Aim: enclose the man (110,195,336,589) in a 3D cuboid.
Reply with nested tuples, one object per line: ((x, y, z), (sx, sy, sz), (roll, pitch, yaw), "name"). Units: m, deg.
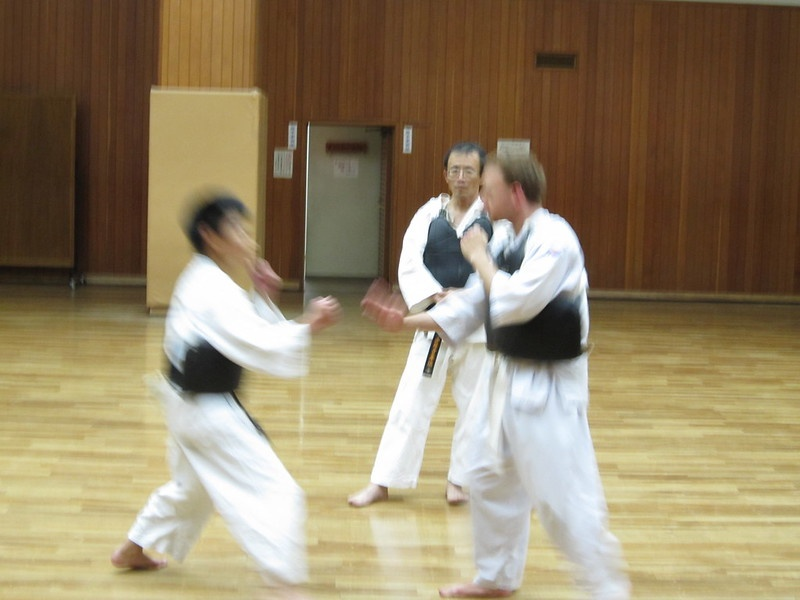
((-0.665, 0.097, 3.643), (1.038, 2.161, 1.090), (-3, 15, -19), "man")

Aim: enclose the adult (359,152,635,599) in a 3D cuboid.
((0.533, 0.342, 4.099), (1.347, 2.660, 1.006), (2, -4, -18), "adult")

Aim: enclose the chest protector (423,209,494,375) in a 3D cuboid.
((0.207, -0.057, 3.747), (0.344, 0.733, 0.160), (7, 1, 0), "chest protector")

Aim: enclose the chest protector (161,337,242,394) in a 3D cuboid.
((-0.688, 0.232, 2.972), (0.215, 0.197, 0.172), (5, 7, -8), "chest protector")

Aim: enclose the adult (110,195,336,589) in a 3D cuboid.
((-0.796, 0.072, 3.615), (1.038, 2.161, 1.090), (-3, 15, -19), "adult")

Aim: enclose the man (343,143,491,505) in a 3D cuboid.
((0.162, 0.137, 3.866), (0.597, 1.791, 0.487), (2, 9, -5), "man")

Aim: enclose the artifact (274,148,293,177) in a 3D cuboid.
((-1.442, -1.699, 10.250), (0.225, 0.356, 0.337), (0, -8, -1), "artifact")
